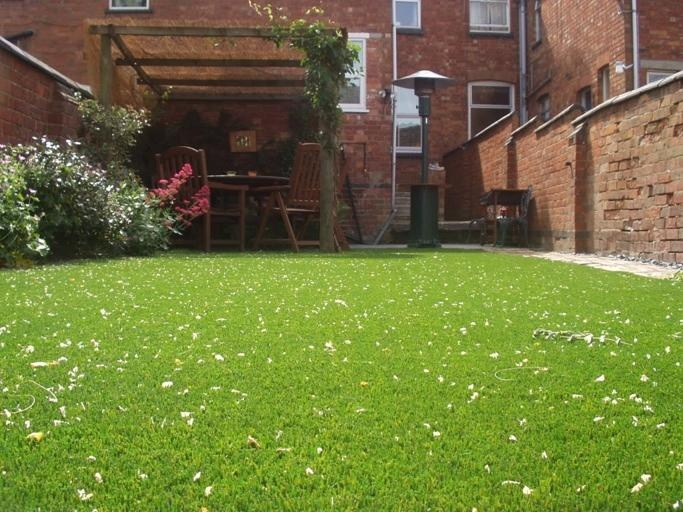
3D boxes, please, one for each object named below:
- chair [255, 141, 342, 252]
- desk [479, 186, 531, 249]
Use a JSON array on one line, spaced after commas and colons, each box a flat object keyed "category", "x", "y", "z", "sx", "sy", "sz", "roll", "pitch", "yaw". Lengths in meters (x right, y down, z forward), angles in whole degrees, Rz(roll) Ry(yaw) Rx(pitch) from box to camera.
[{"category": "chair", "x": -0.598, "y": -0.756, "z": 8.120, "sx": 0.940, "sy": 1.428, "sz": 1.016, "roll": 2, "pitch": 1, "yaw": 34}, {"category": "desk", "x": 2.731, "y": -0.644, "z": 9.792, "sx": 0.812, "sy": 0.963, "sz": 0.890, "roll": -1, "pitch": 4, "yaw": 4}]
